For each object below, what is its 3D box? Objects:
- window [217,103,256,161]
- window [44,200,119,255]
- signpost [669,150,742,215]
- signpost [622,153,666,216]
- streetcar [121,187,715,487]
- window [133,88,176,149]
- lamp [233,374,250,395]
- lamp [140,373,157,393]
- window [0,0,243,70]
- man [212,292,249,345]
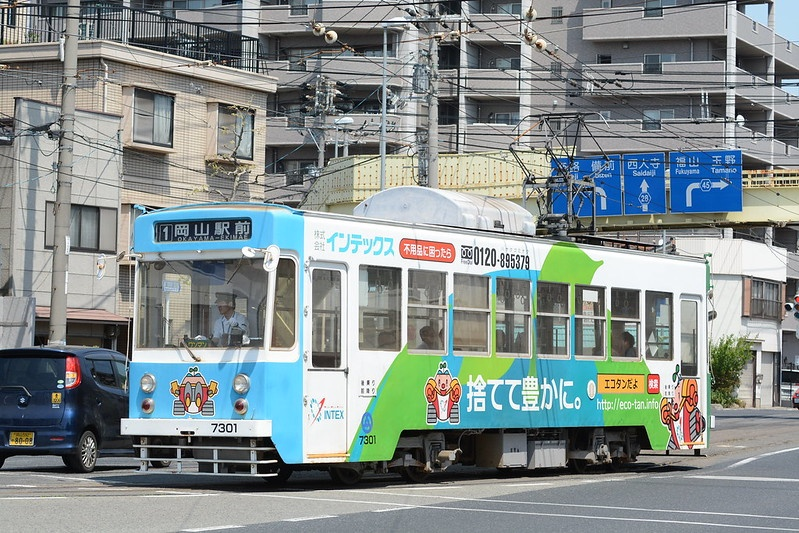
[{"bbox_3d":[-6.436,-5.185,56.168,0.882,2.198,2.505,-3,10,-42],"label":"window"},{"bbox_3d":[-10.740,-1.298,48.008,0.079,1.365,2.392,-7,-10,41],"label":"window"},{"bbox_3d":[11.956,-3.297,55.687,2.458,2.057,0.106,1,7,27],"label":"signpost"},{"bbox_3d":[9.683,-3.165,56.477,2.394,3.430,0.062,1,4,40],"label":"signpost"},{"bbox_3d":[1.394,1.963,35.847,5.318,6.721,17.446,-4,-6,42],"label":"streetcar"},{"bbox_3d":[-9.163,-5.523,53.200,0.167,2.297,2.314,2,4,41],"label":"window"},{"bbox_3d":[-3.315,2.503,30.308,0.417,0.463,0.170,-3,-5,12],"label":"lamp"},{"bbox_3d":[-5.375,2.515,30.855,0.404,0.407,0.135,1,-1,34],"label":"lamp"},{"bbox_3d":[-11.524,-9.532,58.160,6.004,1.461,6.755,6,4,38],"label":"window"},{"bbox_3d":[-3.550,1.074,30.476,0.895,1.124,0.764,-7,-14,25],"label":"man"}]
